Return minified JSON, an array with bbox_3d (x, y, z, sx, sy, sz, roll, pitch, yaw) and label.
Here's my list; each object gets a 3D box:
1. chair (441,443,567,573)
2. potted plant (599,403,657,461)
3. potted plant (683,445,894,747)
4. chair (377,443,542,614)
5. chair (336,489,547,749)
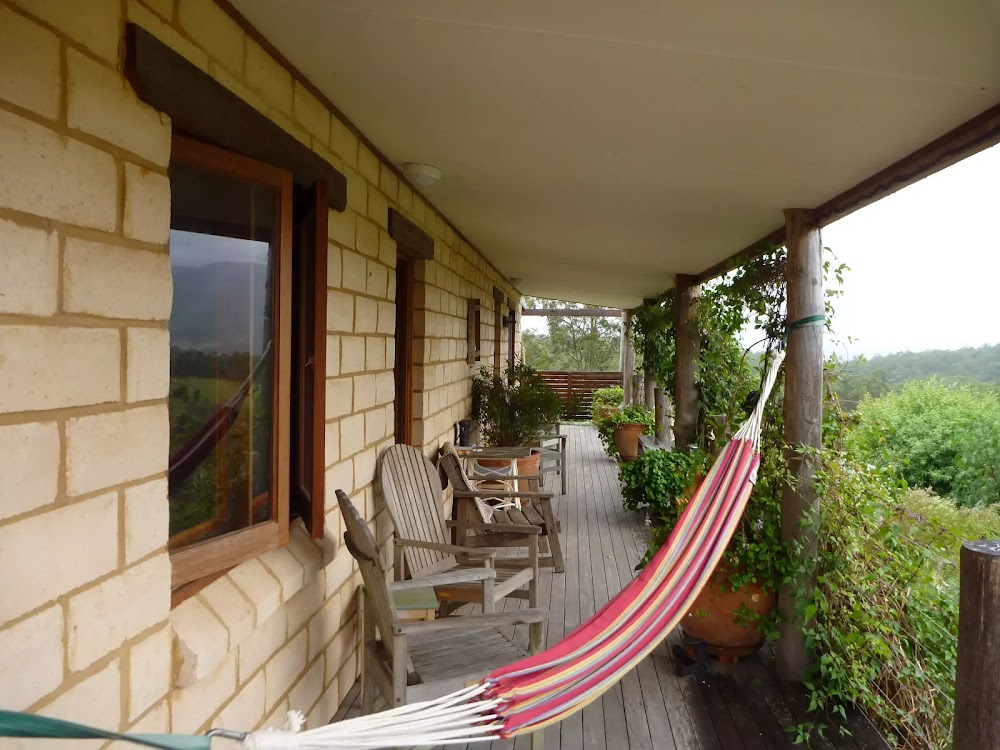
[{"bbox_3d":[0.030,0.862,4.677,0.775,0.868,0.708,1,-2,-1],"label":"chair"},{"bbox_3d":[1.623,0.718,8.865,0.553,0.627,0.624,2,-2,-4],"label":"potted plant"},{"bbox_3d":[1.307,1.115,3.578,0.990,1.150,0.897,2,-20,20],"label":"potted plant"},{"bbox_3d":[-0.254,0.763,3.871,0.803,1.338,0.831,-4,-6,20],"label":"chair"},{"bbox_3d":[-0.245,1.145,3.187,0.802,1.448,0.869,-1,0,-16],"label":"chair"}]
